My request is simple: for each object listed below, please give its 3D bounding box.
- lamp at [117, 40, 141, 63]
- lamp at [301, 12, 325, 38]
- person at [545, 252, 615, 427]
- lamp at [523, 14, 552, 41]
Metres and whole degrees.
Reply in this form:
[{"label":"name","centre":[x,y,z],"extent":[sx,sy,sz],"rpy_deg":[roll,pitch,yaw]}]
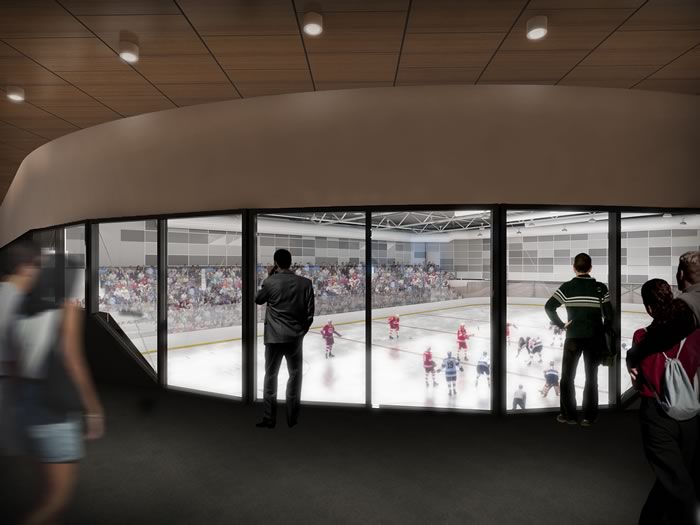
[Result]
[{"label":"lamp","centre":[-2.525,-2.390,5.961],"extent":[0.157,0.161,0.162],"rpy_deg":[-1,15,-12]},{"label":"lamp","centre":[-0.404,-2.573,5.667],"extent":[0.228,0.111,0.301],"rpy_deg":[-1,-9,-3]},{"label":"person","centre":[2.809,0.920,6.324],"extent":[0.807,2.056,0.667],"rpy_deg":[-3,-9,14]},{"label":"lamp","centre":[2.034,-2.539,5.675],"extent":[0.178,0.136,0.185],"rpy_deg":[1,-10,9]}]
